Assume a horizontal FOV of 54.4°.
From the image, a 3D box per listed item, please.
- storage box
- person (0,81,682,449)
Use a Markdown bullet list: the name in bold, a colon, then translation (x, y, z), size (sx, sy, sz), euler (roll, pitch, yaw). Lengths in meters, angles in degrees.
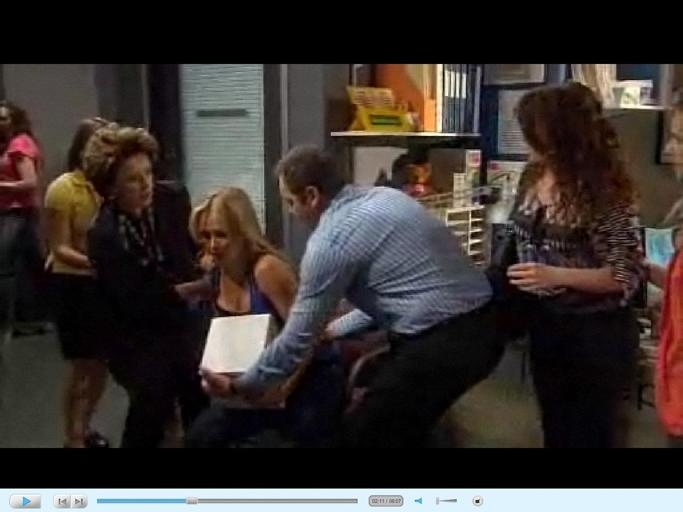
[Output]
- **storage box**: translation (-0.210, 0.194, 1.394), size (0.139, 0.139, 0.088), euler (-3, 3, 8)
- **person**: translation (0.030, -0.018, 1.426), size (1.864, 0.757, 0.432), euler (1, 1, 4)
